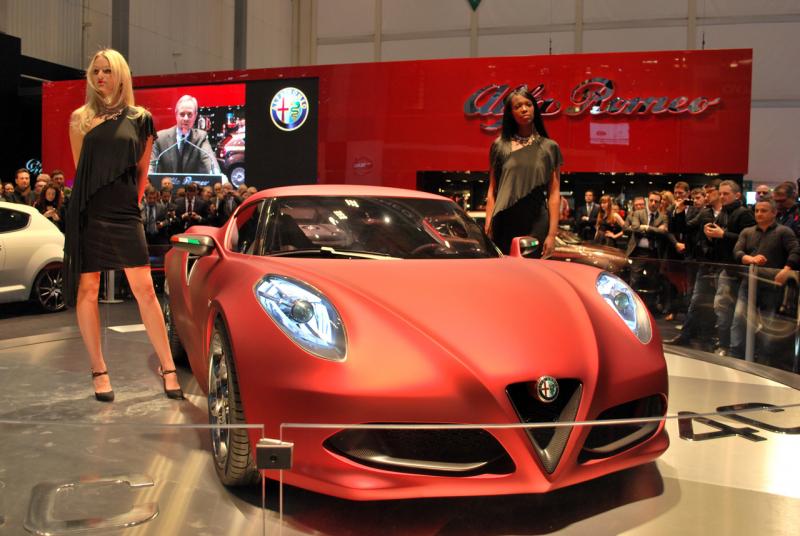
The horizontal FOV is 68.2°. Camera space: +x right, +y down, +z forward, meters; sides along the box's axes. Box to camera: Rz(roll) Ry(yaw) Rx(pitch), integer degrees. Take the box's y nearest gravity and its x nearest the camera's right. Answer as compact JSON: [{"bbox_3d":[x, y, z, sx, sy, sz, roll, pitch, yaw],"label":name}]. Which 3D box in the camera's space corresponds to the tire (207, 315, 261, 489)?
[{"bbox_3d":[-0.742,0.595,2.684,0.179,0.634,0.579,0,3,-16],"label":"tire"}]

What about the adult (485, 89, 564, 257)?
[{"bbox_3d":[1.027,-0.511,4.896,0.531,1.848,0.389,4,19,17],"label":"adult"}]

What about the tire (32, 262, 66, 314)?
[{"bbox_3d":[-4.159,0.238,6.990,0.145,0.470,0.441,-5,-23,29],"label":"tire"}]

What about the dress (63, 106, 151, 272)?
[{"bbox_3d":[-2.013,-0.542,4.104,0.555,1.140,0.260,-1,11,-26],"label":"dress"}]
